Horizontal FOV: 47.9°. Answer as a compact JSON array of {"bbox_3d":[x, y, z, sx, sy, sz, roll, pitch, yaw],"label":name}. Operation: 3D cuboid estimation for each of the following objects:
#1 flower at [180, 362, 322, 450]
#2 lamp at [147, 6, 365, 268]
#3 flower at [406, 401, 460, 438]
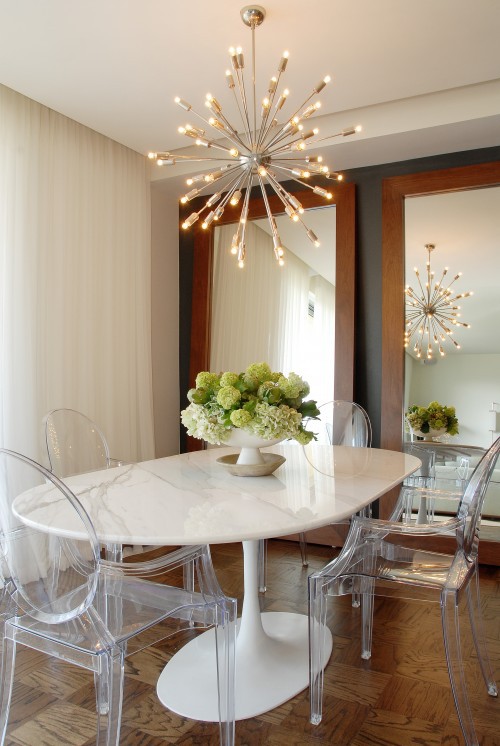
[{"bbox_3d":[0.034,0.099,1.811,0.302,0.202,0.312,4,2,28],"label":"flower"},{"bbox_3d":[0.069,-1.134,2.688,0.552,0.534,0.757,21,38,-19],"label":"lamp"},{"bbox_3d":[1.001,0.235,3.077,0.192,0.146,0.198,2,4,39],"label":"flower"}]
